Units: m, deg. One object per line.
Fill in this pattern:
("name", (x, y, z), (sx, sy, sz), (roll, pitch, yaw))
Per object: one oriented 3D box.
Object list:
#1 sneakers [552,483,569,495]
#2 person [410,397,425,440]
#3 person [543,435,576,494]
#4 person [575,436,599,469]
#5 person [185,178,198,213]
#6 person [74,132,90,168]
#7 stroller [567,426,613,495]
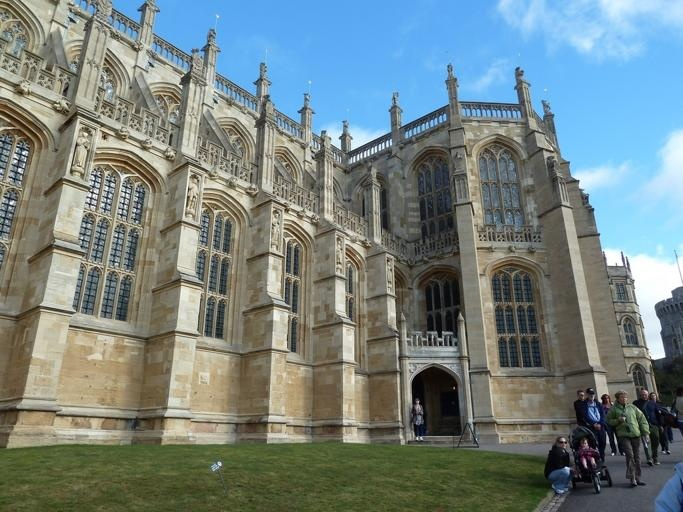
("sneakers", (5.248, 5.661, 11.123), (0.491, 0.208, 0.165), (-5, -18, 22))
("person", (4.117, 8.926, 25.016), (0.606, 2.097, 1.380), (-3, -20, 7))
("person", (5.510, 5.212, 11.423), (0.707, 1.253, 0.717), (11, -12, -15))
("person", (6.059, 4.868, 11.250), (0.376, 0.767, 0.320), (5, -29, 9))
("person", (-6.681, -2.702, 20.201), (0.502, 1.766, 0.144), (13, -24, -34))
("person", (-9.979, -4.092, 17.429), (0.443, 1.487, 0.405), (12, -25, -33))
("stroller", (6.002, 4.904, 11.182), (0.766, 1.362, 1.302), (-14, -16, 21))
